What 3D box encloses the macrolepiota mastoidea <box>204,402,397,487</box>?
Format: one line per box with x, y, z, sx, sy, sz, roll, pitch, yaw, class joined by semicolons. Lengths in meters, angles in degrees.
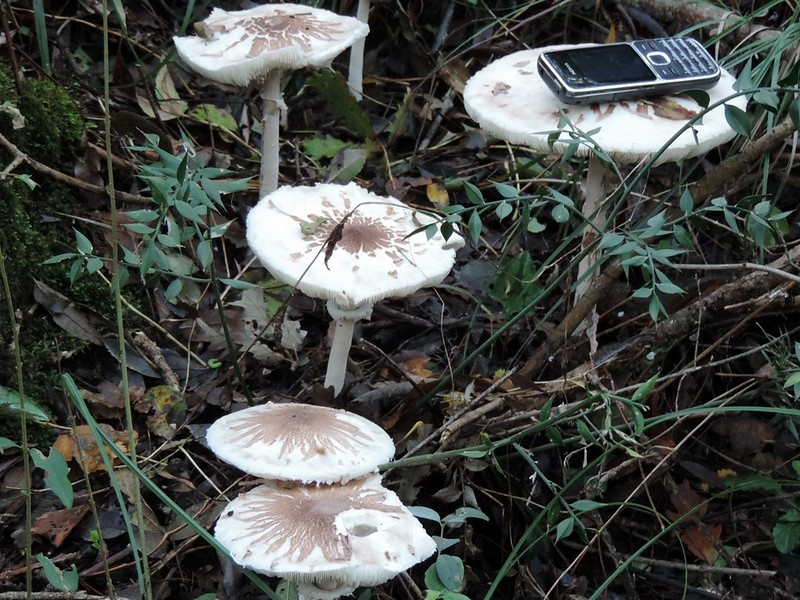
-0.445;0.651;3.545;0.542;0.139;0.464;7;26;-7;macrolepiota mastoidea
